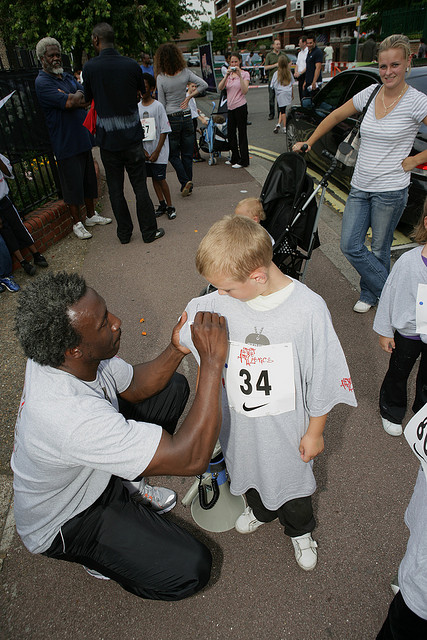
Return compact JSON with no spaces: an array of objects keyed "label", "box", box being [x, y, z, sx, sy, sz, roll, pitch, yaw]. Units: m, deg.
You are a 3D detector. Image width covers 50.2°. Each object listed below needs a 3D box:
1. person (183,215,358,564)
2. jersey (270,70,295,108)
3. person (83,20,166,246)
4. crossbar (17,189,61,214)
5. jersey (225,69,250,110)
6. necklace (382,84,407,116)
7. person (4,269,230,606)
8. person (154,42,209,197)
[{"label":"person","box":[0.232,0.432,1.930,0.675,1.677,0.435,7,37,18]},{"label":"jersey","box":[1.627,-5.554,10.801,0.468,0.785,0.776,-1,36,8]},{"label":"person","box":[-1.156,-2.306,5.780,0.741,2.512,1.553,-14,36,-10]},{"label":"crossbar","box":[-2.340,-1.633,6.126,0.265,0.163,1.000,-2,36,6]},{"label":"jersey","box":[0.395,-4.142,8.134,0.480,0.631,0.314,5,35,14]},{"label":"necklace","box":[1.283,-1.585,3.262,0.156,0.183,0.106,13,40,25]},{"label":"person","box":[-0.430,0.602,2.041,0.948,1.302,1.079,-10,42,-21]},{"label":"person","box":[-0.494,-2.956,6.693,0.724,2.079,0.628,10,32,24]}]
